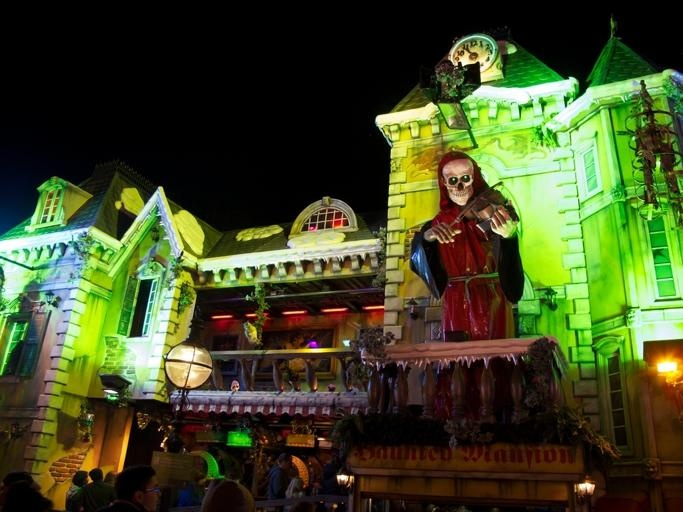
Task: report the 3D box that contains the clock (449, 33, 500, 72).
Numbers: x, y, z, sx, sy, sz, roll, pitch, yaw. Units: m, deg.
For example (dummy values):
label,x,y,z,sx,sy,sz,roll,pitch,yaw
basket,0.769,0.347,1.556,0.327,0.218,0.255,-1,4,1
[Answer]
label,x,y,z,sx,sy,sz,roll,pitch,yaw
clock,3.733,-5.736,15.028,1.332,1.201,0.355,-2,-23,7
